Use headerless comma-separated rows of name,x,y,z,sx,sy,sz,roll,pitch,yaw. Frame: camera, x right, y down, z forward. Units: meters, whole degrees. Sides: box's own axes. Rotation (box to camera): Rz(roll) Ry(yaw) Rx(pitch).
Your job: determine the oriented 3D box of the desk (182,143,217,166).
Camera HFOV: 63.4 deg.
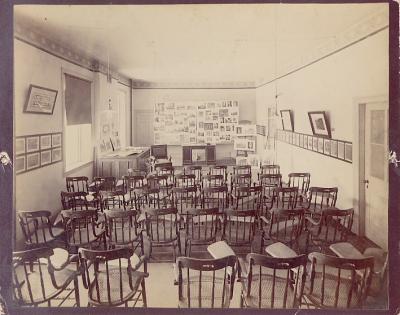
desk,-0.042,-0.408,12.052,1.248,0.879,0.688,0,8,0
